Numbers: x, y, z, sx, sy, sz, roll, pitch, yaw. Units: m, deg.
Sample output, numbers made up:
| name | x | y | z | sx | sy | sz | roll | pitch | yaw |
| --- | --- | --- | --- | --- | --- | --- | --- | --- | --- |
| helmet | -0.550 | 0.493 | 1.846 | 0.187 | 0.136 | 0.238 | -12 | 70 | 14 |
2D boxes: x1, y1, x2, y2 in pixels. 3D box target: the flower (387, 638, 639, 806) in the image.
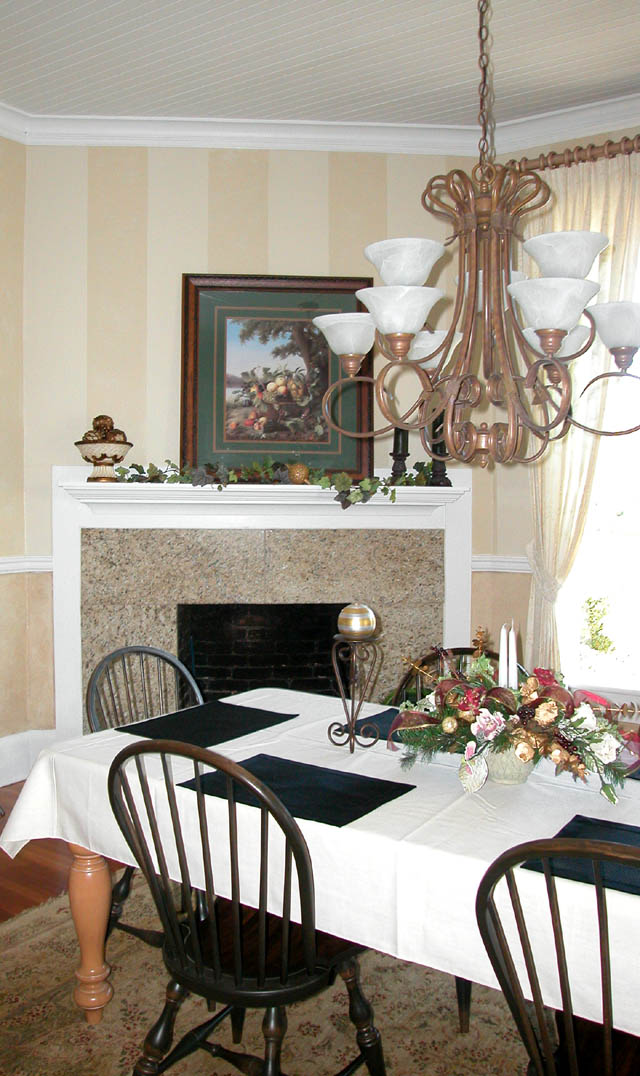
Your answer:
| name | x | y | z | sx | sy | sz | roll | pitch | yaw |
| --- | --- | --- | --- | --- | --- | --- | --- | --- | --- |
| flower | 0.349 | 0.297 | 1.592 | 0.304 | 0.166 | 0.316 | 9 | -5 | -15 |
